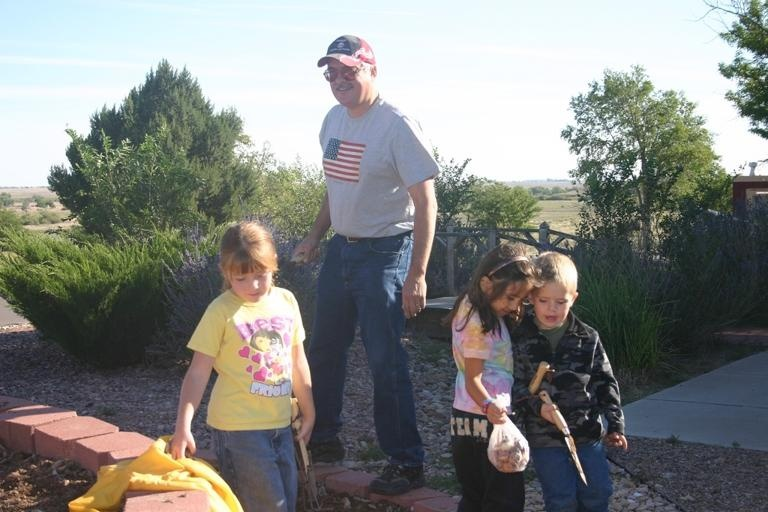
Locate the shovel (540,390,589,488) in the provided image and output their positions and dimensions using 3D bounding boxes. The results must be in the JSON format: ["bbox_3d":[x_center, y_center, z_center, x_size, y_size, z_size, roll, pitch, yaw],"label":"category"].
[{"bbox_3d":[1.149,1.172,3.965,0.318,0.621,0.248,5,5,26],"label":"shovel"}]

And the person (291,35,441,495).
[{"bbox_3d":[-0.140,0.001,4.724,0.674,3.376,1.186,-1,6,-36],"label":"person"}]

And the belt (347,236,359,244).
[{"bbox_3d":[-0.242,-0.131,4.693,0.049,0.040,0.050,-2,-5,42],"label":"belt"}]

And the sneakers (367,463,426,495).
[{"bbox_3d":[0.094,1.611,4.514,0.384,0.215,0.173,2,-4,-15],"label":"sneakers"}]
